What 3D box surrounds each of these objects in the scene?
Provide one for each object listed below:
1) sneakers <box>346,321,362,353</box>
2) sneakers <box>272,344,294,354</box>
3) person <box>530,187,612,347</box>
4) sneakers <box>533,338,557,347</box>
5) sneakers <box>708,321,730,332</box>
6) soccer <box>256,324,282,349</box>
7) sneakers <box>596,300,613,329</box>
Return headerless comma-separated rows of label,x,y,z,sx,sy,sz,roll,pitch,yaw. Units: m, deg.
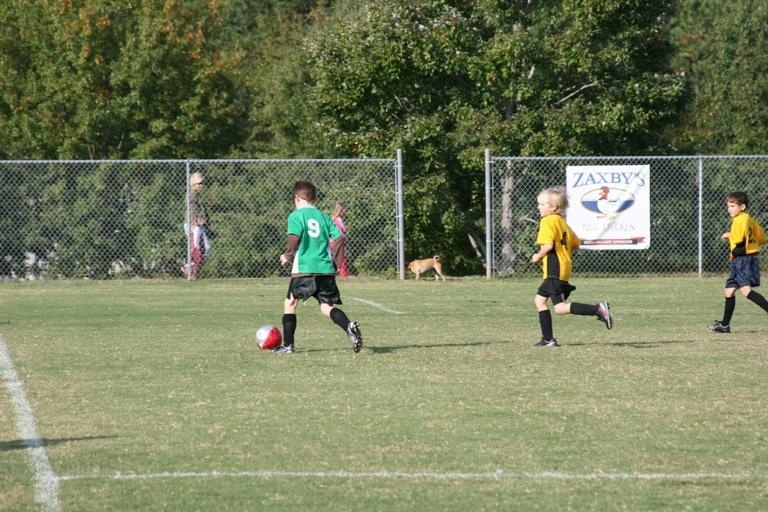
sneakers,-0.480,1.261,18.321,0.199,0.502,0.249,-19,6,-22
sneakers,-1.572,1.464,18.629,0.337,0.138,0.119,3,-2,9
person,2.887,0.174,18.846,1.135,1.665,1.100,-2,1,13
sneakers,2.544,1.385,18.944,0.369,0.138,0.129,1,0,7
sneakers,5.567,1.189,19.838,0.366,0.156,0.152,3,0,17
soccer,-1.801,1.285,18.716,0.384,0.352,0.356,22,-32,-20
sneakers,3.575,0.983,19.473,0.225,0.476,0.167,-27,6,4
